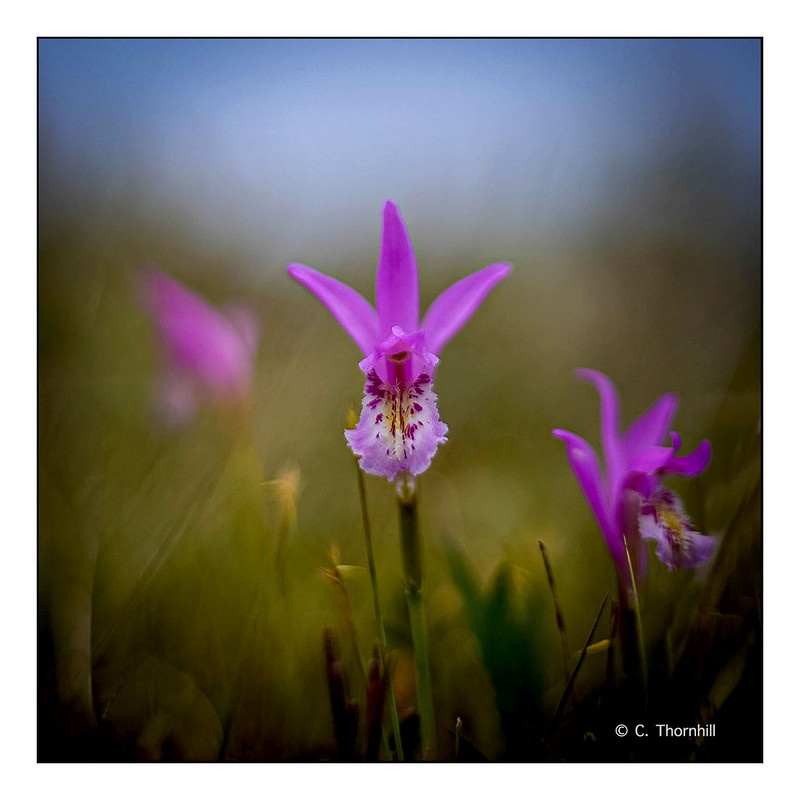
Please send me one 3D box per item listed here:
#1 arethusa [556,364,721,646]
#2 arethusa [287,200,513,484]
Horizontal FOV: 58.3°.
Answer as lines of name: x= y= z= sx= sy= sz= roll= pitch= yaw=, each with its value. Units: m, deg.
arethusa: x=0.400 y=0.244 z=1.285 sx=0.270 sy=0.550 sz=0.251 roll=13 pitch=17 yaw=23
arethusa: x=-0.008 y=-0.076 z=1.232 sx=0.291 sy=0.449 sz=0.370 roll=1 pitch=-25 yaw=-3
